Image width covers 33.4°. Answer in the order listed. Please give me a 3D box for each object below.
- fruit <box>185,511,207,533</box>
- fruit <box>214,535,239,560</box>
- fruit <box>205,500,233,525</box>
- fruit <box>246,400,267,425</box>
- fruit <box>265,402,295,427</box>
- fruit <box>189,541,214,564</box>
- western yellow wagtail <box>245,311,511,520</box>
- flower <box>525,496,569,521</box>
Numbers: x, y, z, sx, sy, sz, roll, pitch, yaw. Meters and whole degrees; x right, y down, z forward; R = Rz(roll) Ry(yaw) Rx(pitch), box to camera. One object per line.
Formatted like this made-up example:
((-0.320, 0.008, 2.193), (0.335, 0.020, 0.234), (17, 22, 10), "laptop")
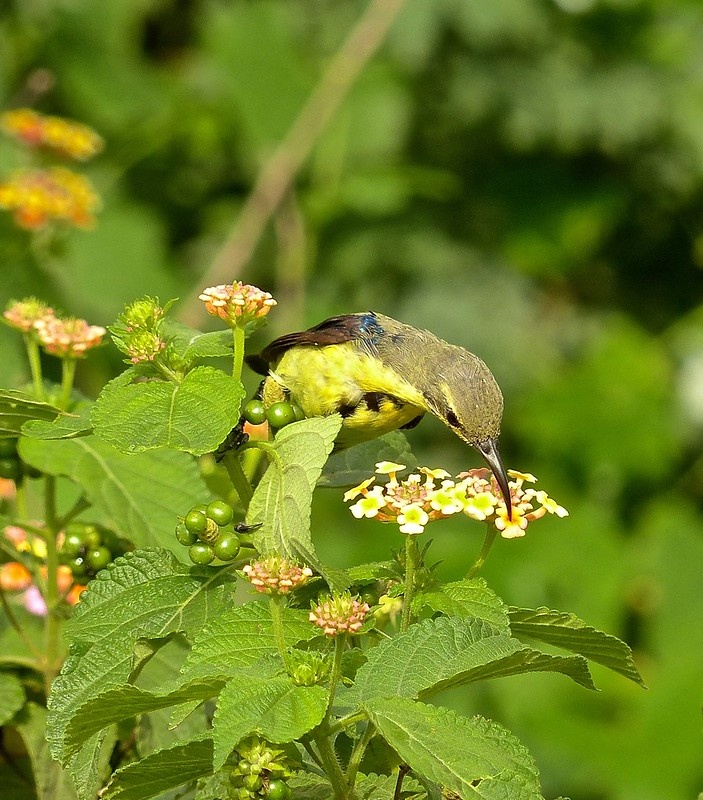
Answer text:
((-0.352, 0.275, 2.628), (0.049, 0.055, 0.036), (0, 45, -7), "fruit")
((-0.283, 0.332, 2.636), (0.058, 0.057, 0.054), (1, 43, -6), "fruit")
((-0.302, 0.266, 2.661), (0.058, 0.097, 0.052), (0, 45, -7), "fruit")
((-0.252, 0.025, 2.902), (0.066, 0.061, 0.059), (4, -1, -19), "fruit")
((-0.171, 0.035, 2.823), (0.064, 0.060, 0.065), (15, 48, -4), "fruit")
((-0.335, 0.352, 2.689), (0.055, 0.051, 0.054), (16, 71, -25), "fruit")
((0.101, -0.043, 3.637), (0.555, 0.670, 0.660), (-6, 12, -12), "western yellow wagtail")
((0.450, 0.256, 2.722), (0.113, 0.041, 0.113), (6, 9, -10), "flower")
